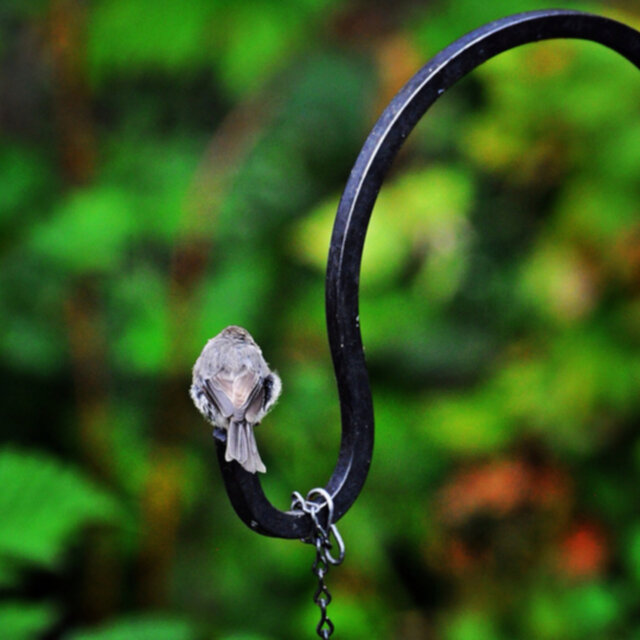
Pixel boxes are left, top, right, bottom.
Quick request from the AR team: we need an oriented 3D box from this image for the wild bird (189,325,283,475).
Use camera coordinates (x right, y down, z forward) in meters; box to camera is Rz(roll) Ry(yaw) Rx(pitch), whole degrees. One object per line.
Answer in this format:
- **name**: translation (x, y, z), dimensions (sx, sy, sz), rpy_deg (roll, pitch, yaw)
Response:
- **wild bird**: translation (-0.133, 0.115, 1.678), dimensions (0.133, 0.311, 0.180), rpy_deg (2, 96, -11)
